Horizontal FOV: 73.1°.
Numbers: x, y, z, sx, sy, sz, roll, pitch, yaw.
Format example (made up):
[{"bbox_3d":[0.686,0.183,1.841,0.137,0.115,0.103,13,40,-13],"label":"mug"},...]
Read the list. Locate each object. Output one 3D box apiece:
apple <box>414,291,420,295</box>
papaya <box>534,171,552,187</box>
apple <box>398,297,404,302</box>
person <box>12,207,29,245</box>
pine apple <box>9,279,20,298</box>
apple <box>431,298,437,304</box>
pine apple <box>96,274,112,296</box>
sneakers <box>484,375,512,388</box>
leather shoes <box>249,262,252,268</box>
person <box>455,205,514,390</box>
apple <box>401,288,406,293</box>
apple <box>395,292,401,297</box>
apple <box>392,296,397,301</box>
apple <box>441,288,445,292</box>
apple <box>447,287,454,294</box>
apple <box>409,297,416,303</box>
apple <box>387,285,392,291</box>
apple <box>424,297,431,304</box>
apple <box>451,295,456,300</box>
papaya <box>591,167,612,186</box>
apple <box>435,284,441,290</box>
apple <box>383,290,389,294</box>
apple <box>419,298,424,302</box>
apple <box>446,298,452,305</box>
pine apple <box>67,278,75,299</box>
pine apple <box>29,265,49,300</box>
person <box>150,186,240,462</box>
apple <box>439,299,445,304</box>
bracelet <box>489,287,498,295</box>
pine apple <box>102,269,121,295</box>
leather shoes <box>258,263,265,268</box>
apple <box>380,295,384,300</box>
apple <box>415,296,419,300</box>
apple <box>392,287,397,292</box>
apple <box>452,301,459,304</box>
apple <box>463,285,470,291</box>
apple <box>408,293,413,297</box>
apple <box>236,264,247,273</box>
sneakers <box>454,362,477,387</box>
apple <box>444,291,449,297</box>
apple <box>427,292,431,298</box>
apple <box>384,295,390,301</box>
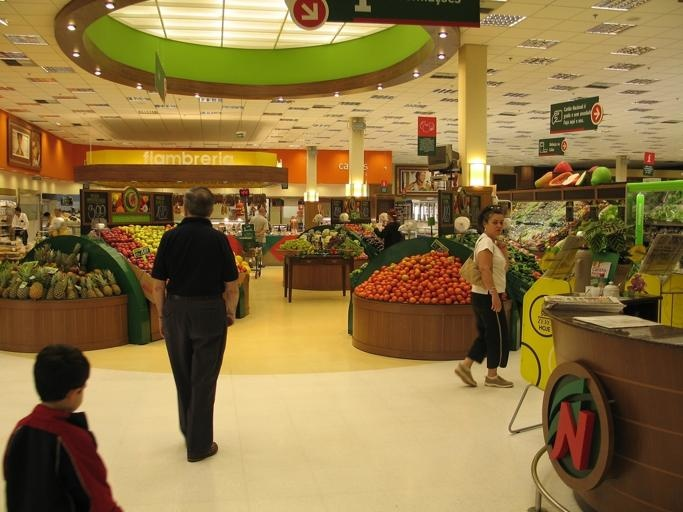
[{"bbox_3d":[0.892,0.441,5.493,0.057,0.050,0.054,4,4,-6],"label":"apple"},{"bbox_3d":[4.092,-1.552,9.372,0.291,0.295,0.700,1,6,22],"label":"papaya"},{"bbox_3d":[0.716,0.518,5.498,0.061,0.064,0.057,-16,32,6],"label":"apple"},{"bbox_3d":[-9.630,-0.919,13.899,0.398,1.132,2.305,-5,7,-34],"label":"person"},{"bbox_3d":[-4.019,0.409,5.702,0.168,0.233,0.066,-2,-13,45],"label":"pine apple"},{"bbox_3d":[1.084,0.532,5.400,0.076,0.057,0.058,14,11,-1],"label":"apple"},{"bbox_3d":[-3.007,0.384,5.880,0.133,0.291,0.119,-33,-11,-2],"label":"pine apple"},{"bbox_3d":[1.528,1.230,4.528,0.248,0.087,0.114,-1,2,4],"label":"sneakers"},{"bbox_3d":[-2.785,0.284,14.212,0.152,0.176,0.189,1,0,-4],"label":"leather shoes"},{"bbox_3d":[1.340,0.417,4.351,0.496,1.756,0.498,1,6,22],"label":"person"},{"bbox_3d":[0.750,0.403,5.547,0.057,0.052,0.042,2,7,35],"label":"apple"},{"bbox_3d":[0.681,0.457,5.539,0.072,0.054,0.042,0,6,9],"label":"apple"},{"bbox_3d":[0.635,0.514,5.553,0.063,0.058,0.054,-4,49,8],"label":"apple"},{"bbox_3d":[1.188,0.406,5.444,0.053,0.034,0.050,1,2,2],"label":"apple"},{"bbox_3d":[1.277,0.412,5.434,0.092,0.064,0.066,1,-8,13],"label":"apple"},{"bbox_3d":[0.836,0.524,5.447,0.068,0.071,0.064,-1,8,2],"label":"apple"},{"bbox_3d":[0.581,0.394,5.654,0.070,0.054,0.057,14,11,14],"label":"apple"},{"bbox_3d":[1.000,0.532,5.414,0.078,0.059,0.061,8,27,-15],"label":"apple"},{"bbox_3d":[1.302,0.489,5.409,0.049,0.052,0.048,15,-12,-40],"label":"apple"},{"bbox_3d":[4.651,-1.449,8.316,0.299,0.323,0.654,2,6,28],"label":"papaya"},{"bbox_3d":[1.138,0.369,5.477,0.066,0.050,0.054,-8,-7,22],"label":"apple"},{"bbox_3d":[0.540,0.445,5.651,0.064,0.048,0.051,2,5,14],"label":"apple"},{"bbox_3d":[0.931,0.524,5.442,0.061,0.056,0.046,-1,5,0],"label":"apple"},{"bbox_3d":[1.245,0.530,5.397,0.062,0.066,0.058,-7,21,3],"label":"apple"},{"bbox_3d":[-3.305,0.412,5.669,0.101,0.238,0.104,-5,7,-32],"label":"pine apple"},{"bbox_3d":[-3.721,0.369,5.688,0.188,0.129,0.298,-11,43,-15],"label":"pine apple"},{"bbox_3d":[-0.991,0.456,3.200,0.567,1.855,0.370,-3,6,-16],"label":"person"},{"bbox_3d":[1.165,0.540,5.398,0.090,0.035,0.040,-2,5,-4],"label":"apple"},{"bbox_3d":[1.344,0.310,4.106,0.062,0.042,0.060,-1,4,7],"label":"bracelet"},{"bbox_3d":[-2.944,0.344,5.961,0.129,0.422,0.128,-42,-20,0],"label":"pine apple"},{"bbox_3d":[-2.425,0.306,14.196,0.187,0.169,0.183,0,3,30],"label":"leather shoes"},{"bbox_3d":[0.494,0.508,5.623,0.057,0.051,0.053,0,9,6],"label":"apple"},{"bbox_3d":[0.897,0.501,5.474,0.045,0.039,0.043,4,6,29],"label":"apple"},{"bbox_3d":[0.645,0.411,5.621,0.057,0.043,0.046,6,-14,-38],"label":"apple"},{"bbox_3d":[1.320,0.552,5.399,0.043,0.039,0.043,5,5,35],"label":"apple"},{"bbox_3d":[1.469,0.383,5.464,0.072,0.049,0.051,10,-17,-2],"label":"apple"},{"bbox_3d":[0.819,0.468,5.490,0.045,0.039,0.041,-1,12,-3],"label":"apple"},{"bbox_3d":[-1.486,0.191,6.912,0.223,0.084,0.210,2,5,-3],"label":"apple"},{"bbox_3d":[1.224,1.188,4.593,0.123,0.269,0.091,-44,17,-1],"label":"sneakers"},{"bbox_3d":[1.228,0.446,5.429,0.071,0.060,0.038,-2,6,-10],"label":"apple"},{"bbox_3d":[1.026,0.457,5.435,0.051,0.045,0.048,0,-8,-3],"label":"apple"},{"bbox_3d":[0.548,0.505,5.599,0.071,0.066,0.068,26,0,2],"label":"apple"}]
